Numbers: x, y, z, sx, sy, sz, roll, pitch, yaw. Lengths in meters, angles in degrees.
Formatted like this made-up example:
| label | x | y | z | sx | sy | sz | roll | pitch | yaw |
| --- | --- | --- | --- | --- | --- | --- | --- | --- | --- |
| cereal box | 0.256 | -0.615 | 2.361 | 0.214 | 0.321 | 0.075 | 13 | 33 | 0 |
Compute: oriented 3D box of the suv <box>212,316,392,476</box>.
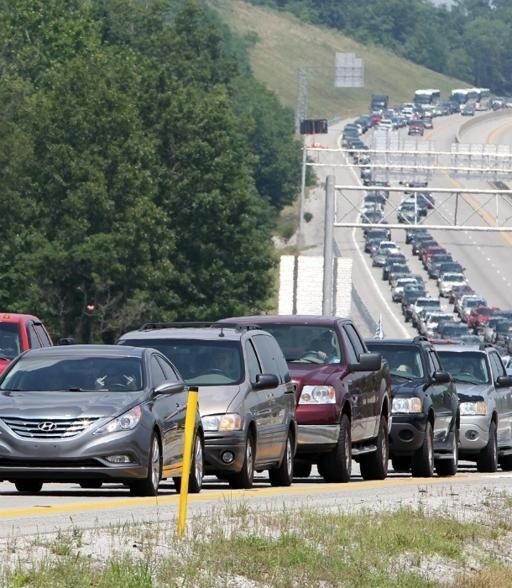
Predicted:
| label | x | y | z | sx | sy | sz | roll | pitch | yaw |
| --- | --- | --- | --- | --- | --- | --- | --- | --- | --- |
| suv | 0.921 | 1.191 | 17.122 | 1.159 | 1.106 | 2.300 | -2 | -10 | 9 |

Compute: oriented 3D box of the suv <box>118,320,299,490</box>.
| label | x | y | z | sx | sy | sz | roll | pitch | yaw |
| --- | --- | --- | --- | --- | --- | --- | --- | --- | --- |
| suv | -0.218 | 1.131 | 15.292 | 1.116 | 1.101 | 1.966 | -2 | -10 | 10 |
